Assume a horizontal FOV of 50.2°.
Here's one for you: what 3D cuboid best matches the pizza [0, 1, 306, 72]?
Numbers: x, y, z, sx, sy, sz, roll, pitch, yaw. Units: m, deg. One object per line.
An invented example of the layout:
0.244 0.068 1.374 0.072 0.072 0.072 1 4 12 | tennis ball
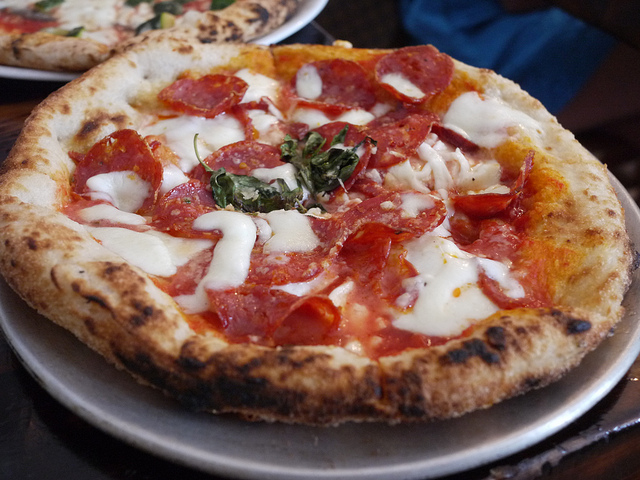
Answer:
-0.880 -1.093 3.685 1.054 0.094 0.950 -18 35 -31 | pizza
